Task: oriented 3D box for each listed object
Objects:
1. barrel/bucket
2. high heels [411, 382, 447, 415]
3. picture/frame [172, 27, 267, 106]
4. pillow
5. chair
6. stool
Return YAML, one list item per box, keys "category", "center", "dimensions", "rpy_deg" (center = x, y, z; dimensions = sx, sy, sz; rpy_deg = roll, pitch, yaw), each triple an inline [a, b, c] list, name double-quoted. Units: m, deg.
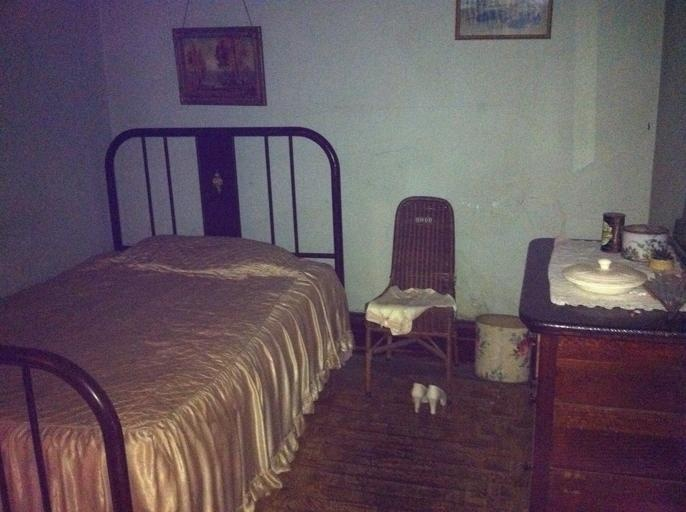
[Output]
- category: "barrel/bucket"
  center: [1.031, 0.580, 3.831]
  dimensions: [0.425, 0.481, 0.417]
  rpy_deg: [1, 4, 0]
- category: "high heels"
  center: [0.518, 0.848, 3.425]
  dimensions: [0.145, 0.122, 0.212]
  rpy_deg: [2, 8, 14]
- category: "picture/frame"
  center: [-0.858, -1.377, 4.061]
  dimensions: [0.547, 0.440, 0.025]
  rpy_deg: [4, 25, 14]
- category: "pillow"
  center: [-0.939, -0.063, 3.750]
  dimensions: [0.892, 0.136, 0.523]
  rpy_deg: [-2, -36, -19]
- category: "chair"
  center: [0.482, 0.220, 3.811]
  dimensions: [0.587, 1.213, 0.745]
  rpy_deg: [3, 10, 9]
- category: "stool"
  center: [1.099, 0.598, 3.830]
  dimensions: [0.346, 0.408, 0.360]
  rpy_deg: [-6, 13, -15]
